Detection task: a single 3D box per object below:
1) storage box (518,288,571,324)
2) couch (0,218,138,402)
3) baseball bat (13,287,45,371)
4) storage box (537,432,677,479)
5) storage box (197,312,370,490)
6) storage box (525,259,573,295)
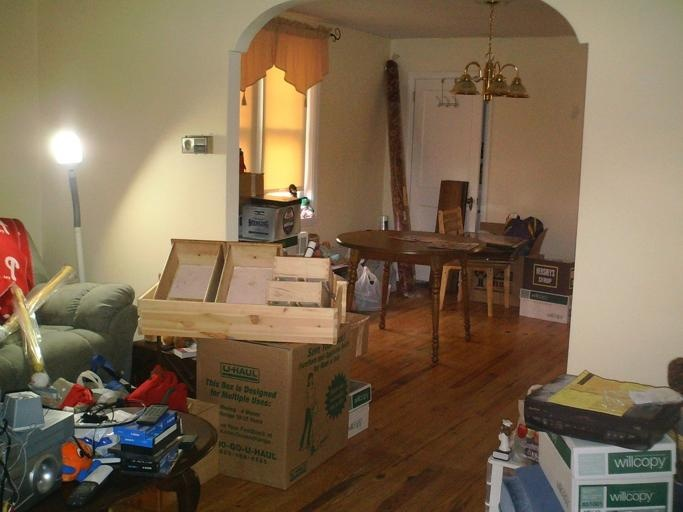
[{"bbox_3d":[2.211,0.551,5.878,0.482,0.253,0.353,10,8,30],"label":"storage box"},{"bbox_3d":[-1.693,0.205,3.544,1.051,1.024,1.027,-5,9,-43],"label":"couch"},{"bbox_3d":[-1.817,0.265,3.094,0.133,0.113,0.918,-21,47,-14],"label":"baseball bat"},{"bbox_3d":[0.911,0.647,1.821,0.342,0.121,0.193,2,12,-3],"label":"storage box"},{"bbox_3d":[-0.318,0.718,3.245,0.711,0.963,1.343,4,8,24],"label":"storage box"},{"bbox_3d":[2.292,0.181,5.904,0.632,0.411,0.341,7,10,39],"label":"storage box"}]
